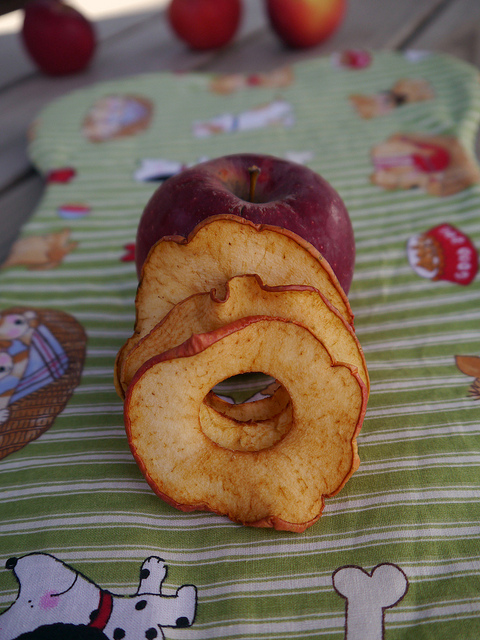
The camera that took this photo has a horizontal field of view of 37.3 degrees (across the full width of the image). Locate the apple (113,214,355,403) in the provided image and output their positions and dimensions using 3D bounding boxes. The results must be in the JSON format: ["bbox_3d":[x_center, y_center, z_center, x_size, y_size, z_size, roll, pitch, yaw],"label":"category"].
[{"bbox_3d":[-0.004,-0.047,0.779,0.221,0.224,0.195,5,43,4],"label":"apple"}]

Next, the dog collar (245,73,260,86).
[{"bbox_3d":[0.024,-0.443,1.316,0.032,0.007,0.025,-3,64,8],"label":"dog collar"}]

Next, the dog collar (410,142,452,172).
[{"bbox_3d":[0.301,-0.255,1.106,0.055,0.028,0.072,11,62,5],"label":"dog collar"}]

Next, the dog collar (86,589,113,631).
[{"bbox_3d":[-0.118,0.251,0.617,0.022,0.005,0.022,10,48,48],"label":"dog collar"}]

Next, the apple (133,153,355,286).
[{"bbox_3d":[0.011,-0.110,0.782,0.202,0.173,0.167,0,38,3],"label":"apple"}]
